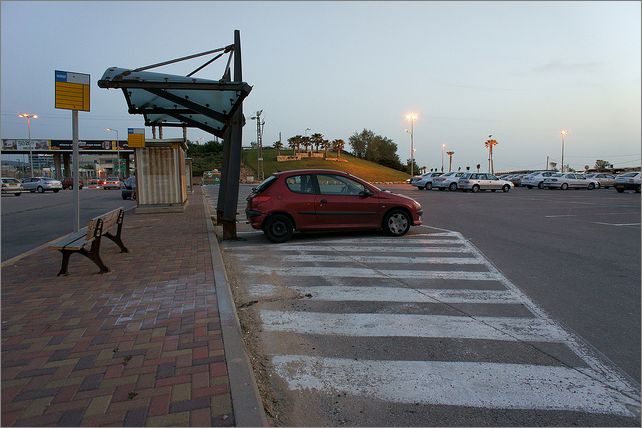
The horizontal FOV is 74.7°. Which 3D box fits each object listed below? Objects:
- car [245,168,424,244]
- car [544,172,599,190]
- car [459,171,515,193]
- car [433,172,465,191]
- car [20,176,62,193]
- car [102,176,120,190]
[{"bbox_3d":[0.133,-0.322,11.861,3.863,1.613,2.129,-3,4,-11],"label":"car"},{"bbox_3d":[22.857,-2.942,38.470,4.028,1.324,1.838,-2,7,-6],"label":"car"},{"bbox_3d":[13.583,-2.574,35.140,4.139,1.433,1.880,-3,7,-13],"label":"car"},{"bbox_3d":[11.335,-2.824,36.441,2.999,1.031,1.357,-6,8,-17],"label":"car"},{"bbox_3d":[-29.072,-3.085,43.364,3.916,1.319,1.811,5,6,11],"label":"car"},{"bbox_3d":[-26.523,-3.947,53.678,1.449,1.151,3.496,-2,10,-13],"label":"car"}]
